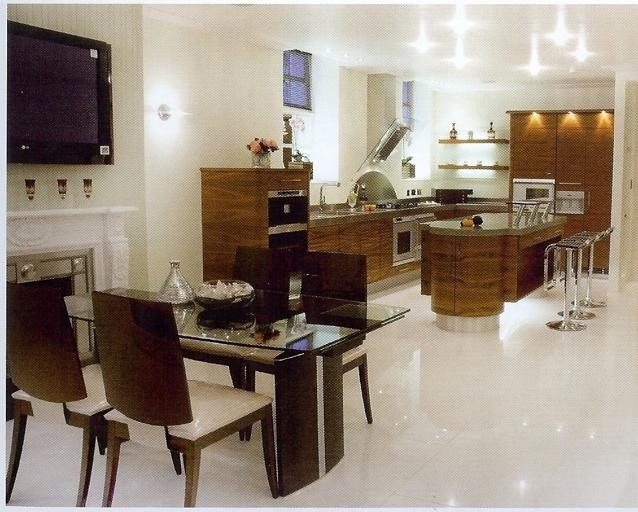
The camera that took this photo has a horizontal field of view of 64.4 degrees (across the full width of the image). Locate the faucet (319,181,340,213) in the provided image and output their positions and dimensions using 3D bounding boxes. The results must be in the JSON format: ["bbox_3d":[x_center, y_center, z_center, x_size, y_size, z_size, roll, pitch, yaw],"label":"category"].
[{"bbox_3d":[0.096,-0.580,4.844,0.187,0.276,0.274,-2,7,0],"label":"faucet"}]

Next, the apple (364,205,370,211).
[{"bbox_3d":[0.484,-0.498,5.109,0.047,0.037,0.047,-1,-4,15],"label":"apple"}]

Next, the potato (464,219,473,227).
[{"bbox_3d":[1.160,-0.267,3.945,0.045,0.031,0.087,-7,-3,18],"label":"potato"}]

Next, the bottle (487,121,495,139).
[{"bbox_3d":[2.127,-1.580,6.275,0.089,0.197,0.057,0,8,17],"label":"bottle"}]

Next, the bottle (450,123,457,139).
[{"bbox_3d":[1.652,-1.564,6.215,0.105,0.186,0.119,0,8,12],"label":"bottle"}]

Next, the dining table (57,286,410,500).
[{"bbox_3d":[-0.306,0.460,1.794,0.876,0.796,0.516,-6,8,-28],"label":"dining table"}]

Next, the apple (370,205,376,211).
[{"bbox_3d":[0.547,-0.500,5.132,0.049,0.041,0.050,-1,-1,-5],"label":"apple"}]

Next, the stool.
[{"bbox_3d":[2.177,0.218,4.308,0.336,0.651,1.045,2,5,28],"label":"stool"}]

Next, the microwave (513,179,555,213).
[{"bbox_3d":[2.573,-0.831,6.102,0.475,0.267,0.186,1,8,19],"label":"microwave"}]

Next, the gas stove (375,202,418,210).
[{"bbox_3d":[0.897,-0.582,5.602,0.231,0.080,0.889,2,8,30],"label":"gas stove"}]

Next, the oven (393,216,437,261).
[{"bbox_3d":[0.963,-0.194,5.456,0.440,0.506,0.812,1,5,31],"label":"oven"}]

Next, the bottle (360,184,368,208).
[{"bbox_3d":[0.449,-0.630,5.083,0.043,0.165,0.185,2,-1,21],"label":"bottle"}]

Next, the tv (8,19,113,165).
[{"bbox_3d":[-1.450,-0.898,2.857,0.137,0.731,0.620,4,9,38],"label":"tv"}]
